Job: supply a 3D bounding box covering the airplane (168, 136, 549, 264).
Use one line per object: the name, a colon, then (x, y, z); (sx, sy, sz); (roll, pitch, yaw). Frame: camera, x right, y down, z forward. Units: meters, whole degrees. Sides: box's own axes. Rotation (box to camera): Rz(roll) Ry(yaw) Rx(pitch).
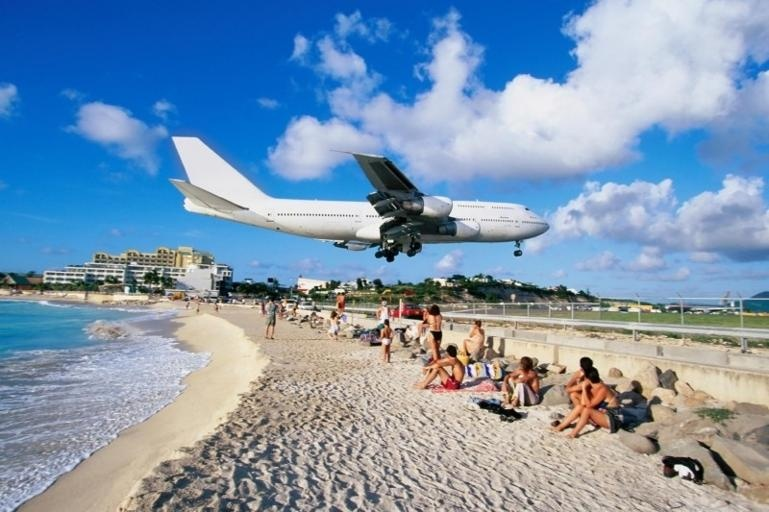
airplane: (-1.203, -3.346, 23.153); (19.037, 5.281, 7.069); (-1, -1, -14)
